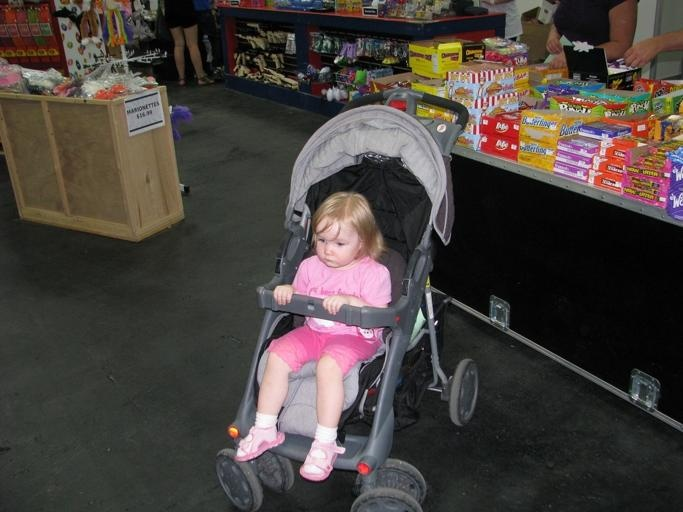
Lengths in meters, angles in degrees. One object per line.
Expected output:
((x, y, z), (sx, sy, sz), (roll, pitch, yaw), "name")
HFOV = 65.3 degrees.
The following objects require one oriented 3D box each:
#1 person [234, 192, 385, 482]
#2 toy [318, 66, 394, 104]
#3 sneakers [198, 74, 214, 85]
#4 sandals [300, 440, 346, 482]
((-0.086, 0.278, 2.283), (0.491, 0.860, 0.935), (8, 30, 16), "person")
((0.167, -2.279, 7.062), (0.753, 0.456, 1.231), (-15, 26, -26), "toy")
((-2.471, -3.219, 9.789), (0.174, 0.144, 0.330), (16, 32, 28), "sneakers")
((-0.077, 0.818, 2.088), (0.119, 0.065, 0.190), (5, 33, 14), "sandals")
